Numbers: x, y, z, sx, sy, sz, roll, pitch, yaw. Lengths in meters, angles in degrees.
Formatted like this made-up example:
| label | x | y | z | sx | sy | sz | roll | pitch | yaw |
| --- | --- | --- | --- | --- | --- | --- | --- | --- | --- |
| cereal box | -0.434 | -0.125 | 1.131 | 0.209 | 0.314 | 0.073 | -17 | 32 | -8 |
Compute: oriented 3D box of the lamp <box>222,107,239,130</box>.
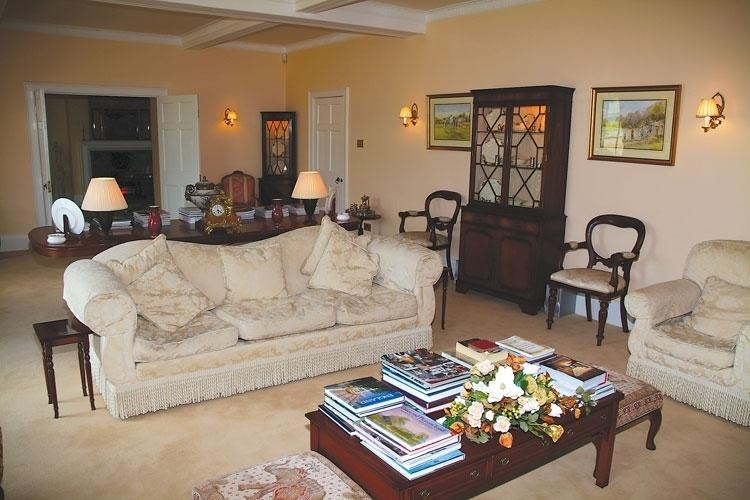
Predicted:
| label | x | y | z | sx | sy | sz | roll | pitch | yaw |
| --- | --- | --- | --- | --- | --- | --- | --- | --- | --- |
| lamp | -2.609 | -2.379 | 9.471 | 0.261 | 0.334 | 0.146 | -5 | 16 | -20 |

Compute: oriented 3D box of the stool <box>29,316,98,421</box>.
| label | x | y | z | sx | sy | sz | roll | pitch | yaw |
| --- | --- | --- | --- | --- | --- | --- | --- | --- | --- |
| stool | -2.506 | 0.922 | 4.289 | 0.378 | 0.710 | 0.479 | -9 | 17 | -33 |

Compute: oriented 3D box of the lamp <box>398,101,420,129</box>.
| label | x | y | z | sx | sy | sz | roll | pitch | yaw |
| --- | --- | --- | --- | --- | --- | --- | --- | --- | --- |
| lamp | 0.508 | -1.964 | 7.595 | 0.253 | 0.404 | 0.334 | 7 | 9 | 44 |

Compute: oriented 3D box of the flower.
| label | x | y | z | sx | sy | sz | roll | pitch | yaw |
| --- | --- | --- | --- | --- | --- | --- | --- | --- | --- |
| flower | 0.825 | 0.942 | 3.222 | 0.699 | 0.303 | 0.676 | -12 | 16 | -37 |

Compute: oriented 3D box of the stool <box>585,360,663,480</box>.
| label | x | y | z | sx | sy | sz | roll | pitch | yaw |
| --- | --- | --- | --- | --- | --- | --- | --- | --- | --- |
| stool | 1.904 | 1.245 | 4.043 | 0.668 | 0.547 | 0.640 | -11 | 19 | -34 |

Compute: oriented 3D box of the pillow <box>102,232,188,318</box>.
| label | x | y | z | sx | sy | sz | roll | pitch | yaw |
| --- | --- | --- | --- | --- | --- | --- | --- | --- | --- |
| pillow | -1.805 | 0.293 | 4.391 | 0.195 | 0.651 | 0.617 | -31 | 3 | 42 |

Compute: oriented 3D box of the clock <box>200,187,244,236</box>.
| label | x | y | z | sx | sy | sz | roll | pitch | yaw |
| --- | --- | --- | --- | --- | --- | --- | --- | --- | --- |
| clock | -1.658 | -0.412 | 5.570 | 0.512 | 0.559 | 0.386 | -3 | 7 | -32 |

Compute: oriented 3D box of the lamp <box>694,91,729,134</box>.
| label | x | y | z | sx | sy | sz | roll | pitch | yaw |
| --- | --- | --- | --- | --- | --- | --- | --- | --- | --- |
| lamp | 3.254 | -1.331 | 5.089 | 0.236 | 0.380 | 0.165 | 8 | 17 | 27 |

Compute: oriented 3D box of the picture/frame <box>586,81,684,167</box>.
| label | x | y | z | sx | sy | sz | roll | pitch | yaw |
| --- | --- | --- | --- | --- | --- | --- | --- | --- | --- |
| picture/frame | 2.790 | -1.349 | 5.576 | 0.035 | 0.883 | 0.945 | -15 | 21 | -41 |

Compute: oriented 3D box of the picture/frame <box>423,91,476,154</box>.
| label | x | y | z | sx | sy | sz | roll | pitch | yaw |
| --- | --- | --- | --- | --- | --- | --- | --- | --- | --- |
| picture/frame | 1.034 | -1.741 | 7.122 | 0.973 | 0.941 | 0.038 | 11 | 13 | 42 |

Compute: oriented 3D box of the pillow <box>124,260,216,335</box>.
| label | x | y | z | sx | sy | sz | roll | pitch | yaw |
| --- | --- | --- | --- | --- | --- | --- | --- | --- | --- |
| pillow | -1.717 | 0.373 | 4.435 | 0.343 | 0.518 | 0.571 | 14 | 20 | 42 |

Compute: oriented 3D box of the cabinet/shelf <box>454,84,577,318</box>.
| label | x | y | z | sx | sy | sz | roll | pitch | yaw |
| --- | --- | --- | --- | --- | --- | --- | --- | --- | --- |
| cabinet/shelf | 1.698 | -0.638 | 6.387 | 0.680 | 2.561 | 1.157 | -14 | 21 | -43 |

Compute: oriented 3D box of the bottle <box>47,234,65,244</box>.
| label | x | y | z | sx | sy | sz | roll | pitch | yaw |
| --- | --- | --- | --- | --- | --- | --- | --- | --- | --- |
| bottle | -2.946 | -0.105 | 4.859 | 0.124 | 0.049 | 0.125 | 1 | 12 | 0 |
